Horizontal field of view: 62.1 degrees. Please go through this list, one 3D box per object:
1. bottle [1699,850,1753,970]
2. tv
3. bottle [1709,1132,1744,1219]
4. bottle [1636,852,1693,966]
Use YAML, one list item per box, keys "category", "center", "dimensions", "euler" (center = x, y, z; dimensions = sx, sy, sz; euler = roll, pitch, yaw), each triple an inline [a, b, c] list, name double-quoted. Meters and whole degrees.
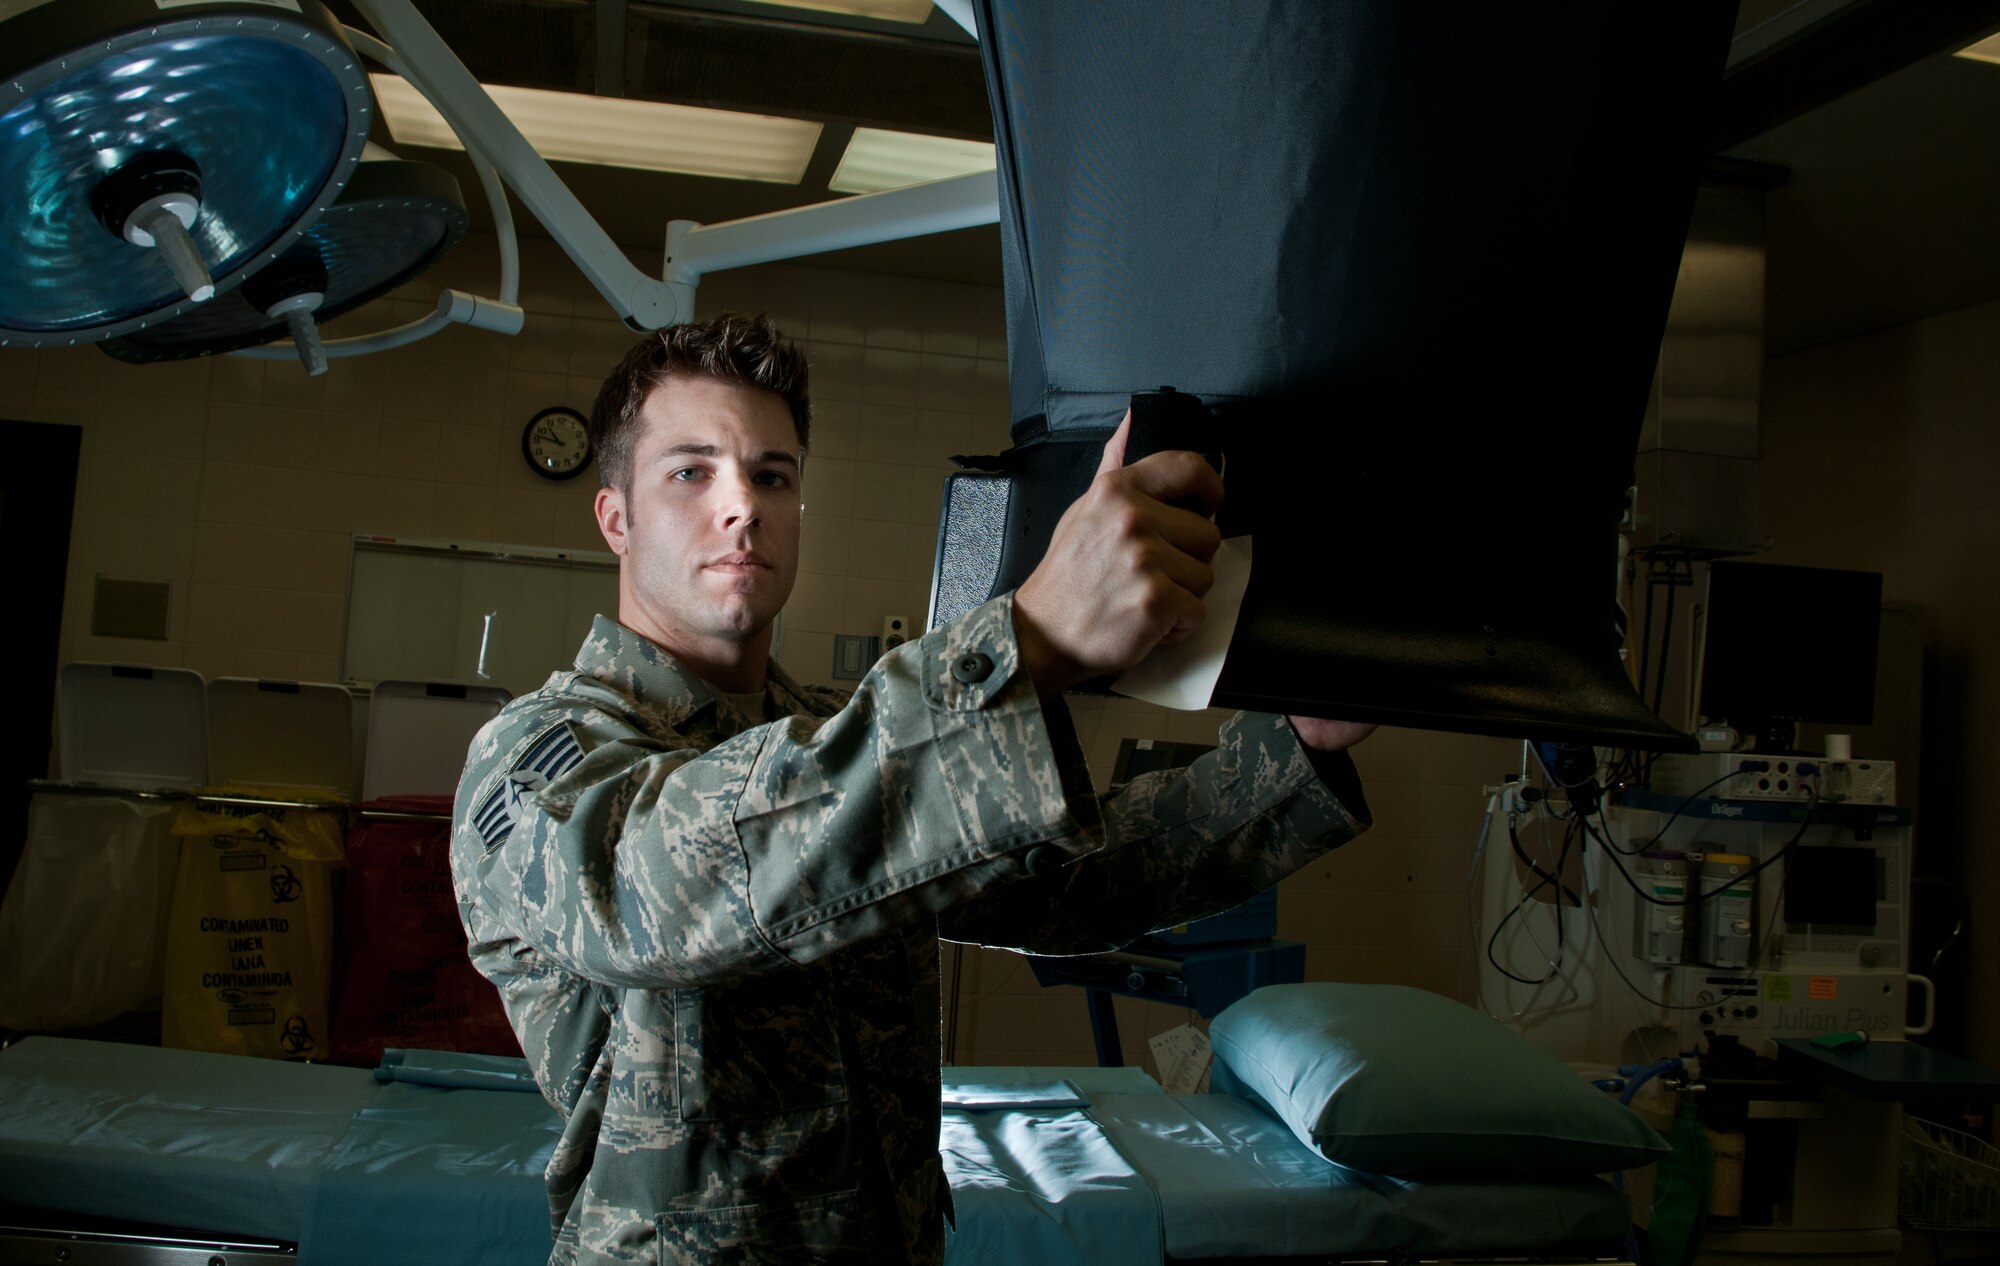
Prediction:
- category: "bottle"
  center: [2.287, 0.871, 5.234]
  dimensions: [0.200, 0.362, 0.098]
  euler: [1, -9, 3]
- category: "tv"
  center: [2.652, 0.065, 5.658]
  dimensions: [0.706, 0.632, 0.144]
  euler: [3, 1, -15]
- category: "bottle"
  center: [2.215, 1.673, 5.121]
  dimensions: [0.119, 0.273, 0.119]
  euler: [1, -9, 0]
- category: "bottle"
  center: [2.103, 0.883, 5.300]
  dimensions: [0.195, 0.321, 0.193]
  euler: [-2, 1, 0]
